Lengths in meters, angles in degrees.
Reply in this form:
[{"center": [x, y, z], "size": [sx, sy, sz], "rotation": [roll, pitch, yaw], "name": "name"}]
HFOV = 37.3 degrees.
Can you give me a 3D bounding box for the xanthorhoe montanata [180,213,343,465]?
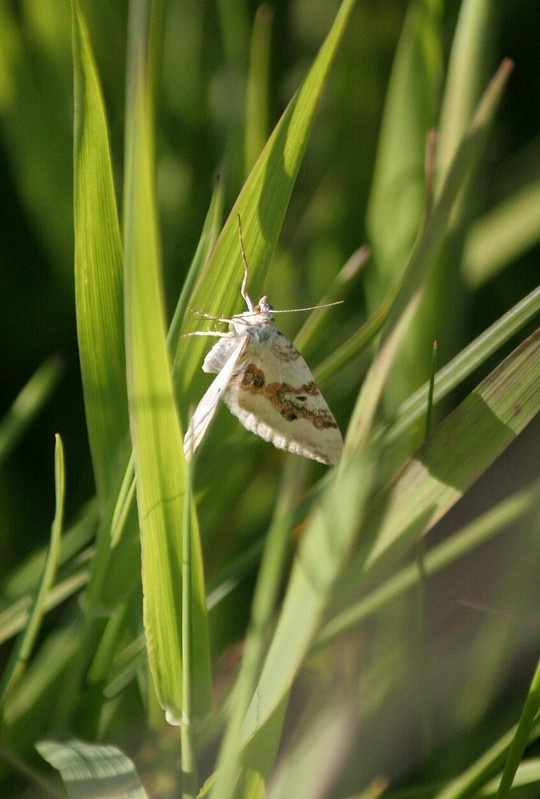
[{"center": [-0.018, -0.047, 0.782], "size": [0.053, 0.143, 0.201], "rotation": [20, 15, 30], "name": "xanthorhoe montanata"}]
